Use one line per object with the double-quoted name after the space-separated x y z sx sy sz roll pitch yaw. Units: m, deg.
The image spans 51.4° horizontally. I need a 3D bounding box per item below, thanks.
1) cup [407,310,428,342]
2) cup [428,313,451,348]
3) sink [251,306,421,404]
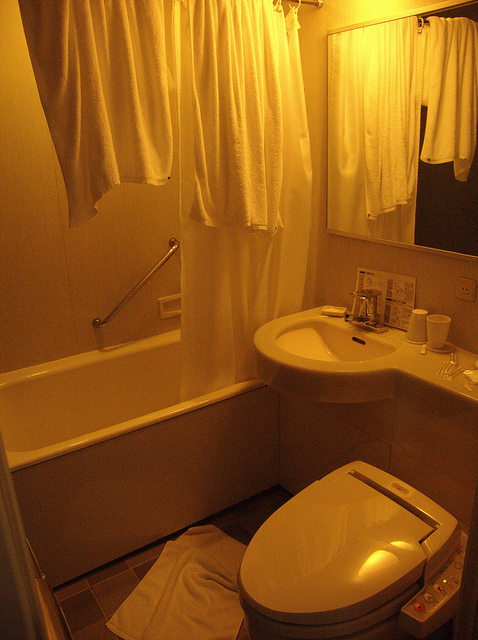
0.629 0.025 1.744 0.061 0.108 0.084 7 21 22 "cup"
0.666 0.030 1.686 0.070 0.127 0.088 2 9 8 "cup"
0.355 0.144 1.833 0.606 0.227 0.569 2 16 30 "sink"
